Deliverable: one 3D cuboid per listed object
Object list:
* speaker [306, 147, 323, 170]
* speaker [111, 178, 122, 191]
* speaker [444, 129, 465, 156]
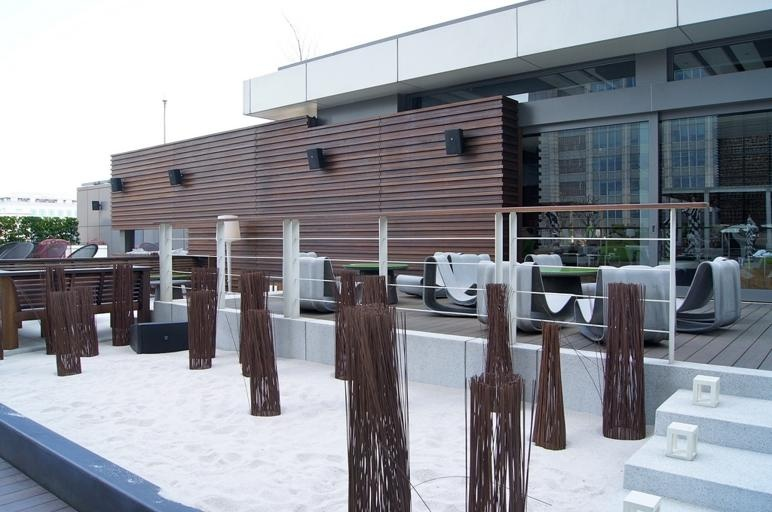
[{"bbox_3d":[-1.420,-1.937,10.599,0.385,0.417,0.147,4,12,25],"label":"speaker"},{"bbox_3d":[-7.378,-1.938,14.480,0.364,0.352,0.155,3,12,24],"label":"speaker"},{"bbox_3d":[1.127,-1.877,8.774,0.315,0.414,0.186,0,11,10],"label":"speaker"}]
